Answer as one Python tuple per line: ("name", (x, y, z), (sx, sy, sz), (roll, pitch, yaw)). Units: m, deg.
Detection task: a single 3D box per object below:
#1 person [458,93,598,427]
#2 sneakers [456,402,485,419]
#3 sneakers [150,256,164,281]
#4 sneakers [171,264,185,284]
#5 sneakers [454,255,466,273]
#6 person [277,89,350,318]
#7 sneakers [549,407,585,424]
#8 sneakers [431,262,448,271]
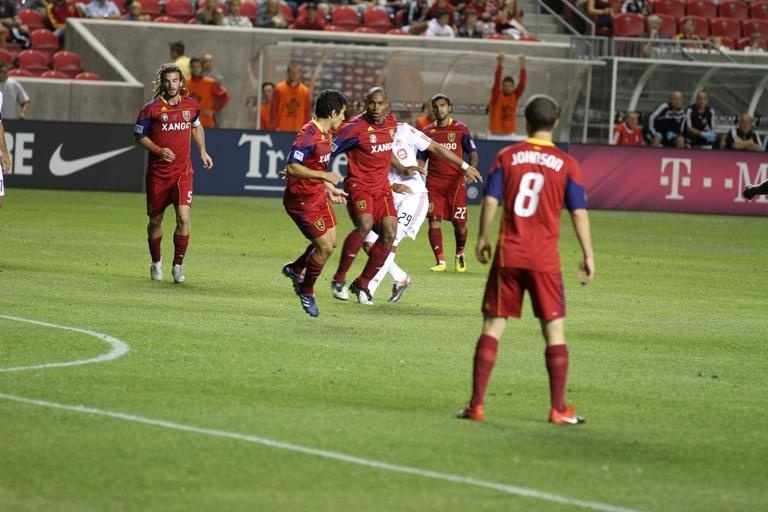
("person", (1.308, 0.024, 10.015), (1.017, 2.763, 0.470), (3, 9, 8))
("sneakers", (0.747, 1.336, 10.026), (0.239, 0.100, 0.097), (3, 3, 39))
("sneakers", (-2.895, 0.159, 14.704), (0.115, 0.295, 0.134), (-4, -4, -9))
("sneakers", (-2.598, 0.210, 14.592), (0.151, 0.209, 0.363), (0, 10, -11))
("sneakers", (1.108, 0.113, 16.752), (0.106, 0.289, 0.132), (-4, -28, -2))
("person", (-0.801, -0.617, 13.106), (0.695, 2.492, 1.176), (1, 9, -5))
("sneakers", (1.584, 1.375, 10.031), (0.263, 0.116, 0.139), (-2, 3, -18))
("sneakers", (0.798, 0.149, 16.688), (0.284, 0.195, 0.095), (3, 7, 6))
